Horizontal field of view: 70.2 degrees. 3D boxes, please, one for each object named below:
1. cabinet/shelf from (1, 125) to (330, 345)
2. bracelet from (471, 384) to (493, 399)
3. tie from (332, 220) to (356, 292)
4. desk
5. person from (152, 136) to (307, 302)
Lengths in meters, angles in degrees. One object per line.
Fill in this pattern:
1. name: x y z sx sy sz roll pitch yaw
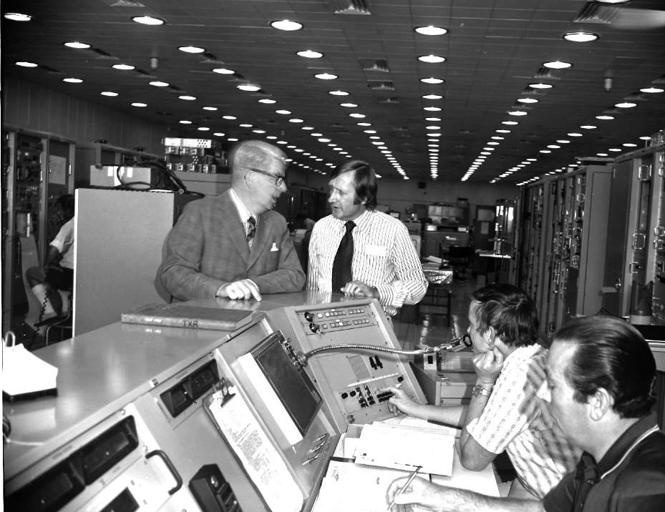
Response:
1. cabinet/shelf: -0.858 -0.065 3.361 2.451 1.233 1.085 4 6 6
2. bracelet: 0.630 0.559 1.977 0.056 0.033 0.057 -5 -15 33
3. tie: 0.075 0.000 2.949 0.127 0.436 0.140 4 7 -15
4. desk: 3.834 1.327 14.343 2.531 1.901 3.719 2 11 10
5. person: -0.534 -0.082 2.594 0.753 0.886 0.948 3 1 28
